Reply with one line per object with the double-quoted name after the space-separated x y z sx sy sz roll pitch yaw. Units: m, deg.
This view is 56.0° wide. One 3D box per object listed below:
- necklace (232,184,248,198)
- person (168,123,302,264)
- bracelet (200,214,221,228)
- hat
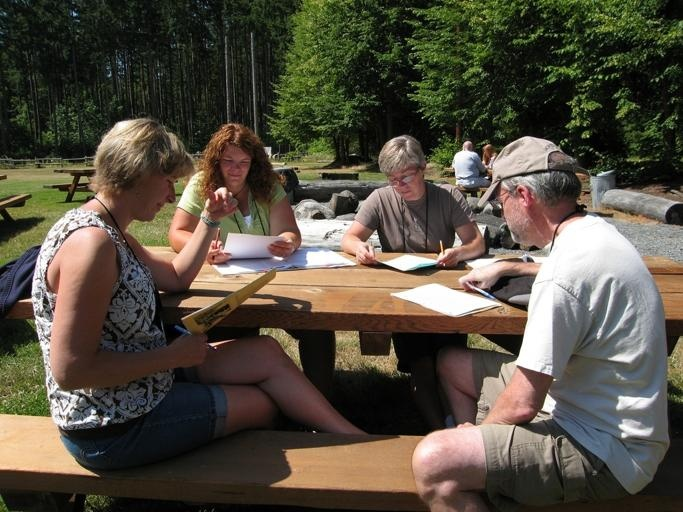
-0.725 -0.464 4.586 0.104 0.072 0.080 -2 12 -19 "necklace"
-0.700 -0.424 4.532 1.139 0.992 1.038 3 7 34 "person"
-0.750 -0.201 3.663 0.079 0.031 0.078 25 10 -35 "bracelet"
0.960 -0.489 3.126 0.386 0.202 0.265 -22 -10 24 "hat"
